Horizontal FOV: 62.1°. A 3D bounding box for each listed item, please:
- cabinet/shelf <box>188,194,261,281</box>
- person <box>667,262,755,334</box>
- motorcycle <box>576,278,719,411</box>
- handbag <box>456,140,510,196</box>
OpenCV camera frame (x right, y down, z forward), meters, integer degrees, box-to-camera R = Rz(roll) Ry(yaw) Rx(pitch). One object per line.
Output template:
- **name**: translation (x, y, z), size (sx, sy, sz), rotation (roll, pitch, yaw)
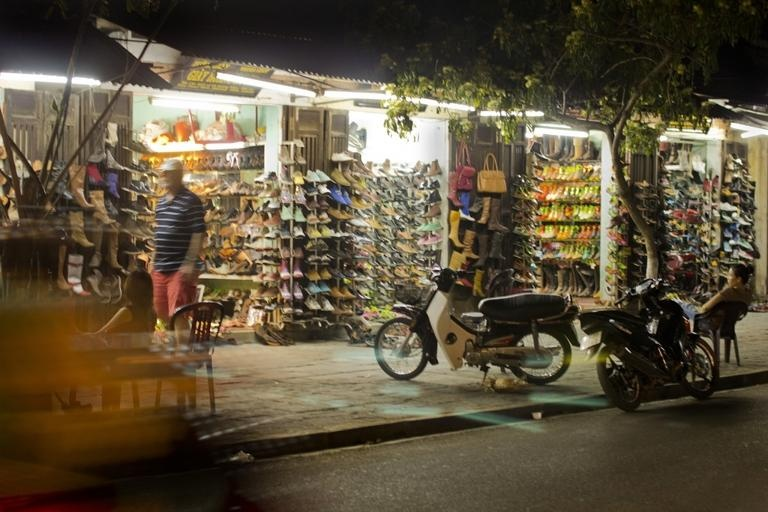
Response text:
- **cabinet/shelf**: translation (-3.413, -0.403, 14.118), size (1.648, 1.802, 0.435), rotation (1, 2, 11)
- **person**: translation (5.140, 0.686, 11.026), size (2.044, 1.235, 1.035), rotation (0, -6, 37)
- **motorcycle**: translation (3.804, 1.212, 9.005), size (2.797, 1.714, 0.933), rotation (1, -21, -35)
- **handbag**: translation (2.245, -2.058, 14.956), size (1.263, 1.095, 0.347), rotation (4, -12, -23)
